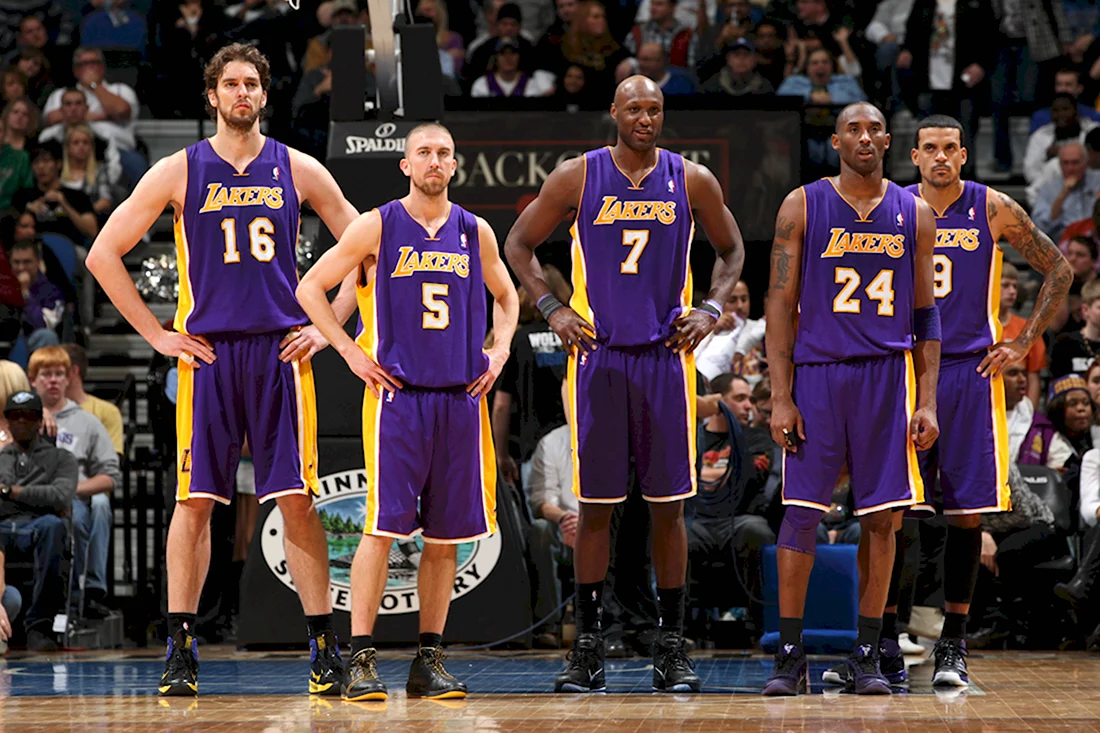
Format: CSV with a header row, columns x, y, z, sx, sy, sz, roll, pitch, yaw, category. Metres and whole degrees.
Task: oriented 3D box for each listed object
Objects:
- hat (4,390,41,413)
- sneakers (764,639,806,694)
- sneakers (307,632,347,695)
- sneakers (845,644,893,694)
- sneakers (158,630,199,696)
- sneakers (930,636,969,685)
x,y,z,sx,sy,sz,roll,pitch,yaw,category
-4.178,0.277,12.265,0.259,0.173,0.173,1,-2,-8,hat
1.523,1.929,9.886,0.294,0.311,0.258,0,-2,5,sneakers
-1.423,1.897,9.898,0.232,0.389,0.192,1,-2,-9,sneakers
2.061,1.938,9.932,0.246,0.298,0.322,0,-2,-1,sneakers
-2.361,1.875,9.864,0.250,0.428,0.245,1,-2,-15,sneakers
2.654,1.933,10.152,0.233,0.306,0.336,0,-2,16,sneakers
